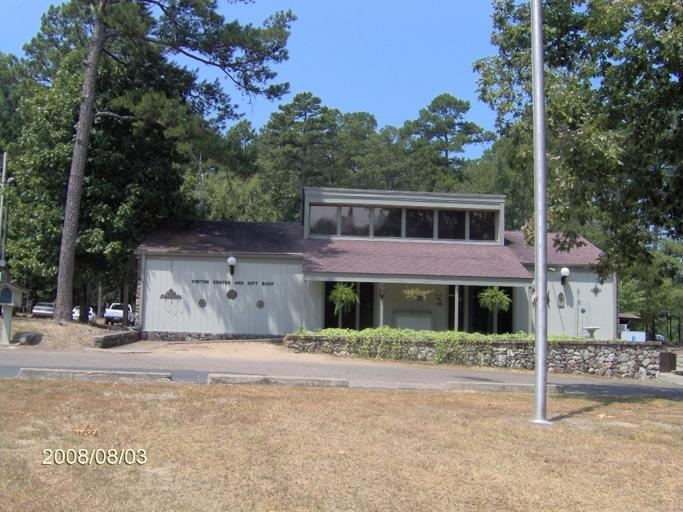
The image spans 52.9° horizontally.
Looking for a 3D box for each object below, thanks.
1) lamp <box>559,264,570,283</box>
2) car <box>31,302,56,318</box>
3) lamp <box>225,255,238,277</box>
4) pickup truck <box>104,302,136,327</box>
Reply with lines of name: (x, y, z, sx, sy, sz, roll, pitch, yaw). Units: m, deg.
lamp: (10.172, 0.871, 31.205, 0.421, 0.835, 1.206, 3, 3, 19)
car: (-21.854, 3.937, 50.394, 1.263, 1.100, 3.186, 1, 1, -21)
lamp: (-4.755, 0.421, 29.666, 0.462, 0.884, 0.557, 1, 4, -9)
pickup truck: (-15.969, 4.197, 49.480, 1.948, 1.825, 3.917, 0, -2, -6)
